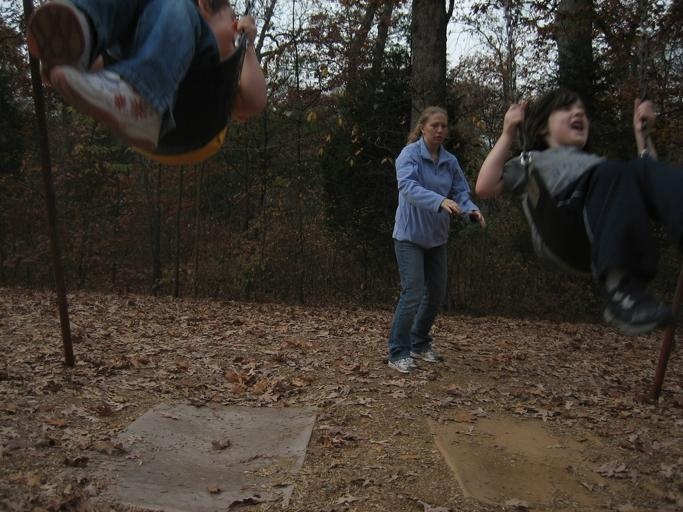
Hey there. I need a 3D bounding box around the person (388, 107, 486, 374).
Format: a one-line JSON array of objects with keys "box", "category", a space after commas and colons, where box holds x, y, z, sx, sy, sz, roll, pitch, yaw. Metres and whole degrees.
[{"box": [0.890, -0.129, 5.928, 0.790, 2.645, 1.137, 3, 14, 13], "category": "person"}]

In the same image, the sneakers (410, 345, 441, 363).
[{"box": [0.912, 1.054, 6.308, 0.293, 0.138, 0.142, 1, -7, 13], "category": "sneakers"}]

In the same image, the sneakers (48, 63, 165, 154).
[{"box": [-1.122, -0.733, 3.061, 0.662, 0.218, 0.279, 40, 4, -22], "category": "sneakers"}]

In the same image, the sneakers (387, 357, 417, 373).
[{"box": [0.620, 1.093, 5.989, 0.168, 0.136, 0.322, -7, 15, -27], "category": "sneakers"}]
